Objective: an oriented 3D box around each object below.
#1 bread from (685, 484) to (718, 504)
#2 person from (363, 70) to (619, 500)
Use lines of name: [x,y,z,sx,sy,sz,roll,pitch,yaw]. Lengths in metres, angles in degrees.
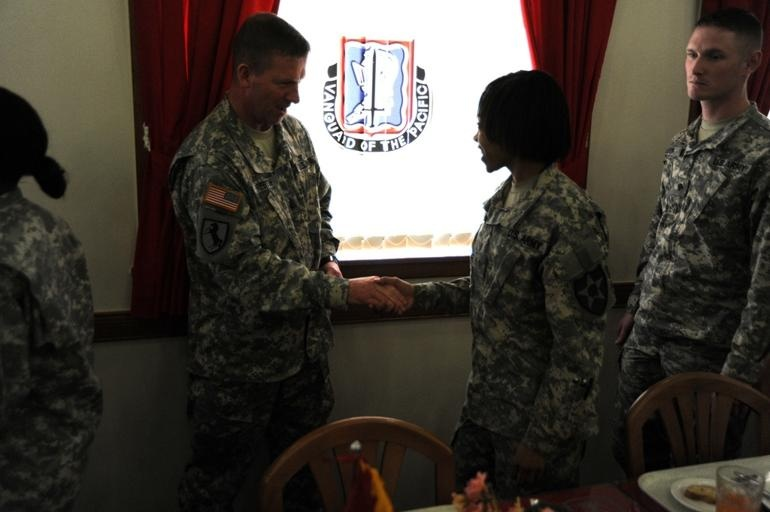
bread: [0.952,0.717,1.766,0.083,0.028,0.064,2,3,-13]
person: [0.504,0.125,2.075,0.478,1.484,0.387,1,-3,-2]
